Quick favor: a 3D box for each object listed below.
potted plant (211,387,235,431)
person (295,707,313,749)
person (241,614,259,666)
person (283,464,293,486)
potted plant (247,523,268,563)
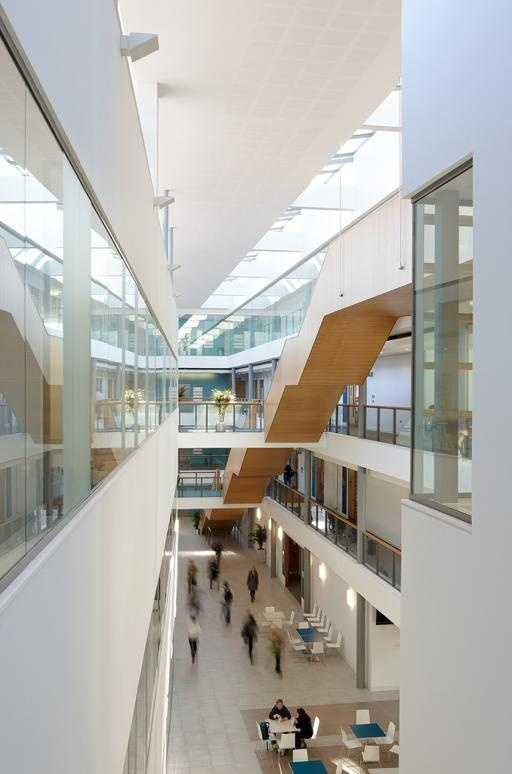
[{"bbox_3d":[-0.974,0.638,16.349,0.630,1.888,0.869,1,-3,-8],"label":"potted plant"},{"bbox_3d":[0.862,6.328,10.502,0.311,0.647,0.821,1,-2,5],"label":"person"},{"bbox_3d":[-0.231,6.407,15.172,0.336,1.525,0.367,-10,29,-26],"label":"person"},{"bbox_3d":[1.135,3.178,20.659,0.347,0.605,1.205,1,-3,2],"label":"person"},{"bbox_3d":[0.061,6.687,24.716,0.834,2.403,1.111,-1,2,-5],"label":"potted plant"}]
